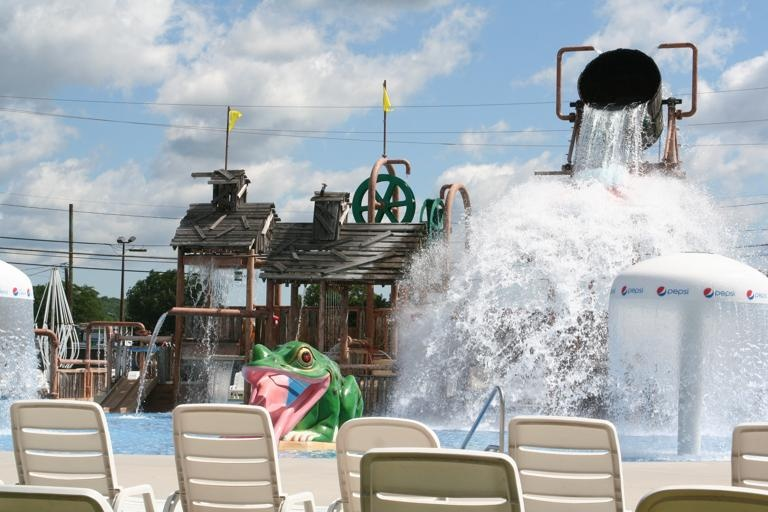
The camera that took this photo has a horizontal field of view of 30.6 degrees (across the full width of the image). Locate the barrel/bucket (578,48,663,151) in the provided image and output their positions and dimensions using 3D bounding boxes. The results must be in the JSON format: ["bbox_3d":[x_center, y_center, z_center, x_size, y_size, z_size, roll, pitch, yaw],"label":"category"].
[{"bbox_3d":[6.810,-4.450,39.630,2.592,2.663,1.482,-2,-5,39],"label":"barrel/bucket"}]
